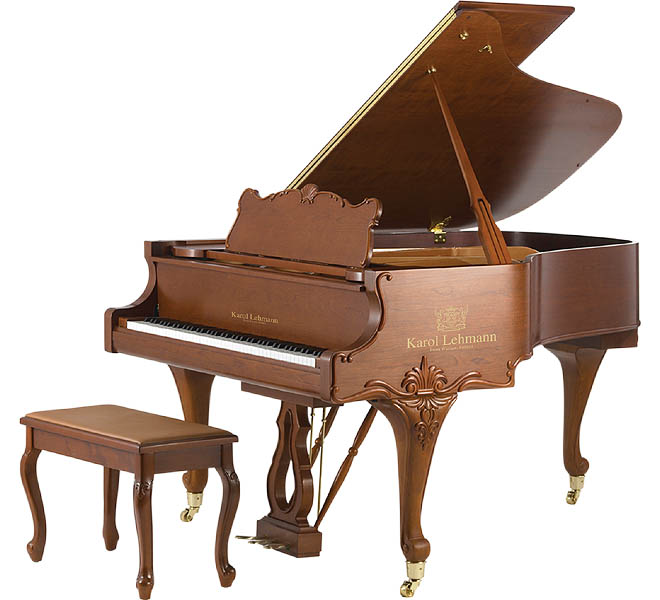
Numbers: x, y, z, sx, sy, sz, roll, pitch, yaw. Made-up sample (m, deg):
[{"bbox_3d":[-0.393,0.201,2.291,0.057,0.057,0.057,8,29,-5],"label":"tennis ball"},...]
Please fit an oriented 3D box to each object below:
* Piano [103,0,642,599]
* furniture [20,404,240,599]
[{"bbox_3d":[0.221,-0.100,4.327,3.080,2.452,2.260,0,2,-39],"label":"Piano"},{"bbox_3d":[-0.804,0.790,2.943,0.900,0.694,0.386,9,10,39],"label":"furniture"}]
